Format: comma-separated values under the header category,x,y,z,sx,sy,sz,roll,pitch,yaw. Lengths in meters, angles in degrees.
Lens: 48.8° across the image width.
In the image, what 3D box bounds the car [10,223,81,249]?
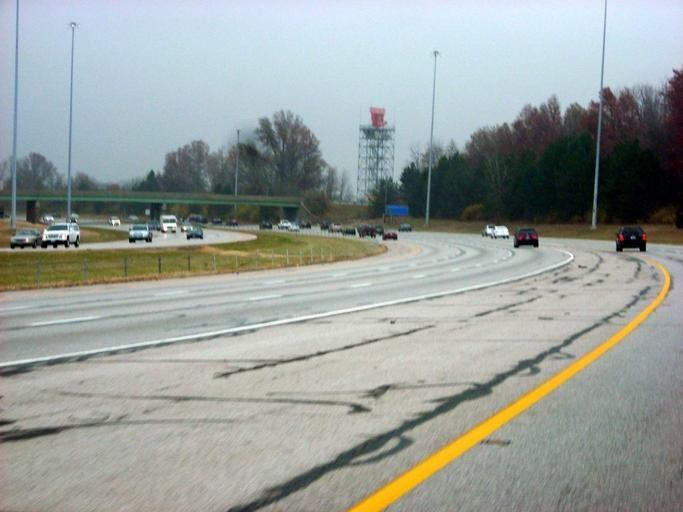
category,x,y,z,sx,sy,sz,roll,pitch,yaw
car,-18.138,-1.254,46.584,2.337,1.464,4.918,3,5,30
